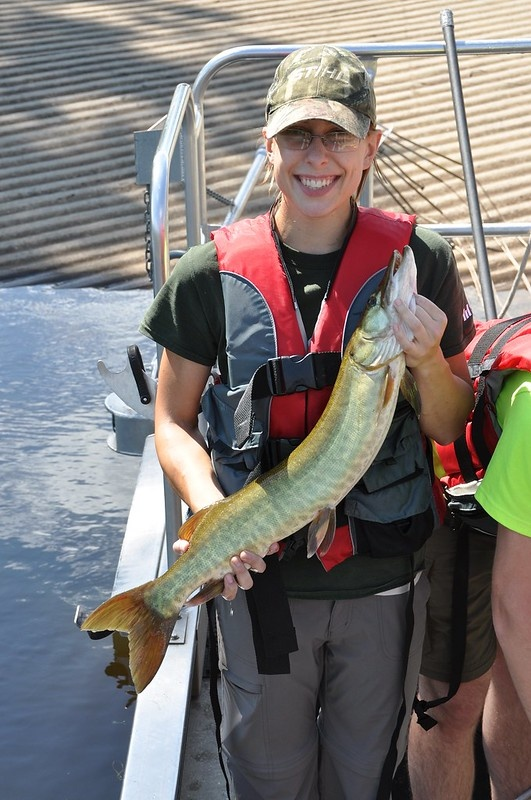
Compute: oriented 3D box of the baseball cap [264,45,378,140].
[{"bbox_3d":[0.101,-0.558,1.337,0.160,0.125,0.237,2,13,7],"label":"baseball cap"}]
